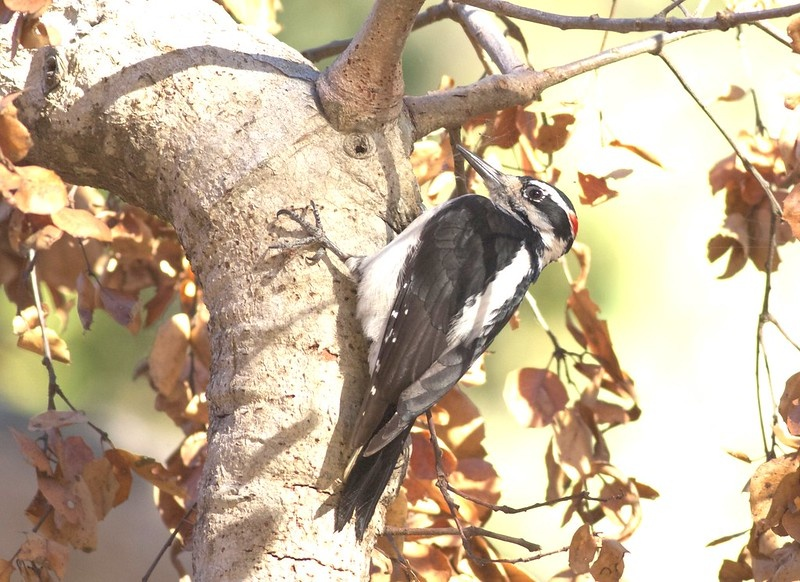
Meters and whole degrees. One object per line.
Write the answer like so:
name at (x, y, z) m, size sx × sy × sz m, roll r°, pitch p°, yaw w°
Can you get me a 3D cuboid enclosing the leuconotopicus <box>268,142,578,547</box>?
leuconotopicus at (0.176, 0.098, 5.718) m, size 1.249 × 2.247 × 0.749 m, roll -1°, pitch -29°, yaw 12°
